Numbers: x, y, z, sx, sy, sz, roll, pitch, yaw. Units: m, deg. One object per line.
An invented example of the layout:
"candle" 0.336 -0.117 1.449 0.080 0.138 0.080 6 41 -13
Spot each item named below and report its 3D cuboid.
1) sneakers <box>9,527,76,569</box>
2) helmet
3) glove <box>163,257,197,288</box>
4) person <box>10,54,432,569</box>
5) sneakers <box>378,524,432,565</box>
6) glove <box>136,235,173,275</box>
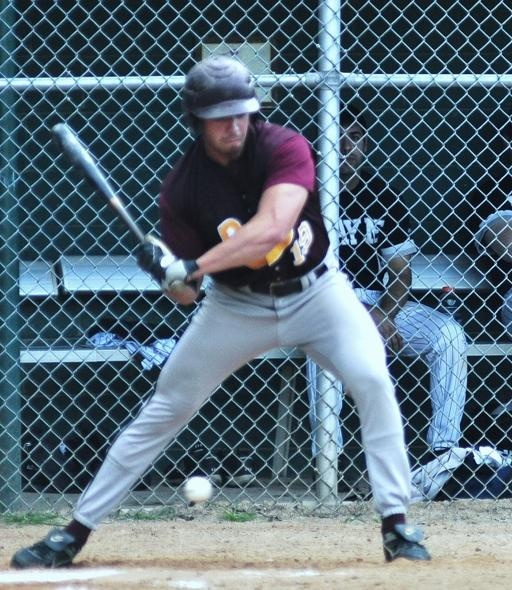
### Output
"sneakers" -0.614 0.768 2.868 0.098 0.098 0.261 14 -4 29
"helmet" -0.119 -0.641 2.836 0.236 0.133 0.282 -17 37 -20
"glove" -0.221 -0.065 2.757 0.099 0.064 0.046 26 2 31
"person" -0.058 0.038 2.881 1.119 1.428 0.796 -1 25 4
"sneakers" 0.437 0.729 2.787 0.136 0.137 0.081 0 25 5
"glove" -0.313 -0.127 2.905 0.086 0.078 0.137 -40 37 5
